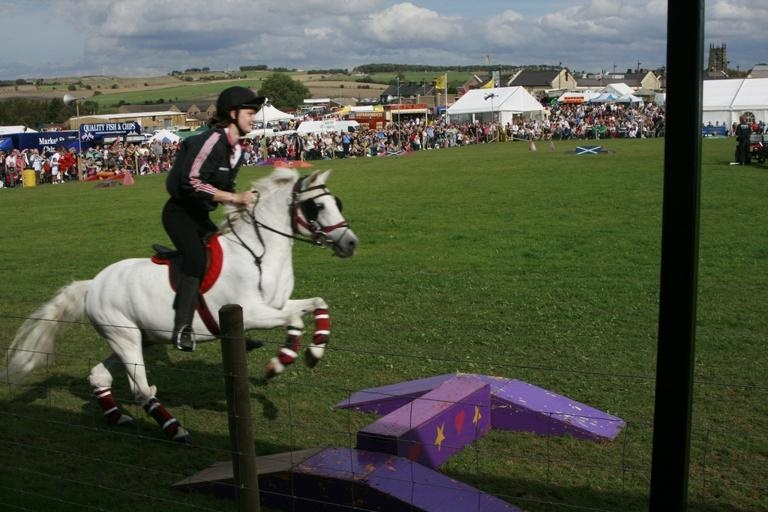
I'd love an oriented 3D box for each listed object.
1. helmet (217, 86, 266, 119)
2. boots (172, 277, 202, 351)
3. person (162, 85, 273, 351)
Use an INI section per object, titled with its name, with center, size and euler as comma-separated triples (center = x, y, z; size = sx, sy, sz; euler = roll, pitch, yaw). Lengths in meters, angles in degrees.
[helmet]
center = -1.769, -1.912, 8.533
size = 0.551, 0.272, 0.379
euler = -21, 12, 1
[boots]
center = -2.406, 0.704, 8.414
size = 0.309, 0.909, 0.349
euler = 1, 15, 17
[person]
center = -2.210, -0.386, 8.621
size = 1.446, 3.322, 0.770
euler = -17, 20, -41
